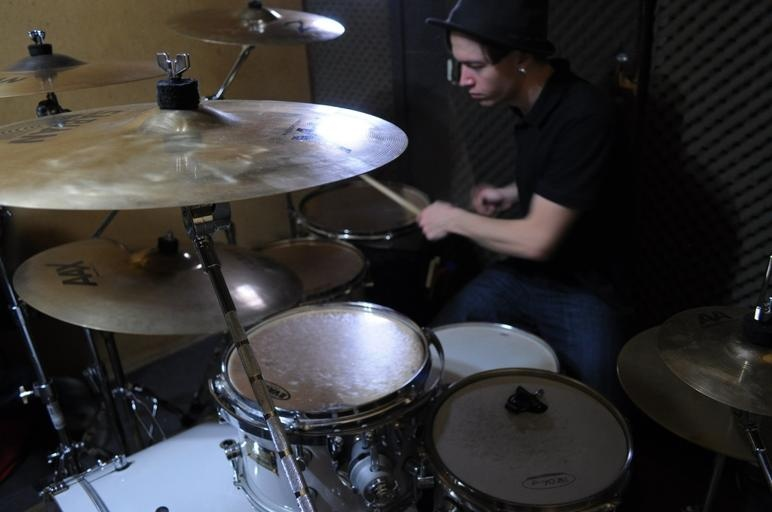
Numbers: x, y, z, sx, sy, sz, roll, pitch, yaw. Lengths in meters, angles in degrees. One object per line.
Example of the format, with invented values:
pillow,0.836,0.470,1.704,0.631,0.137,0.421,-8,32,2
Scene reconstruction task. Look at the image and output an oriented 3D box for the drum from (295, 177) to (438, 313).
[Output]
drum,-0.093,-0.045,2.881,0.423,0.424,0.420,22,52,28
